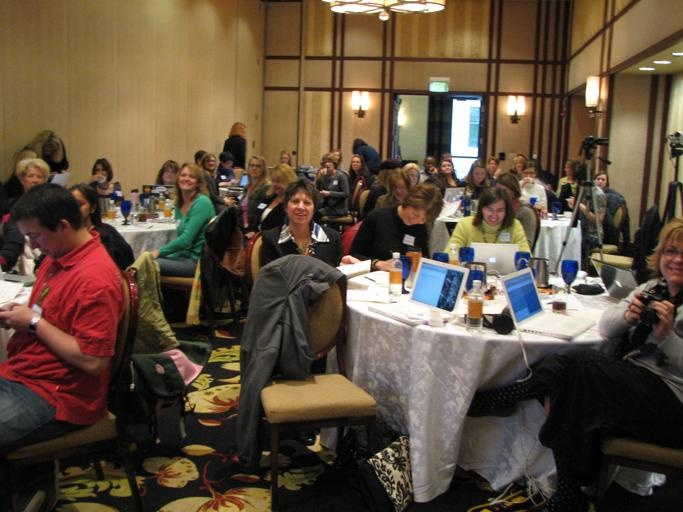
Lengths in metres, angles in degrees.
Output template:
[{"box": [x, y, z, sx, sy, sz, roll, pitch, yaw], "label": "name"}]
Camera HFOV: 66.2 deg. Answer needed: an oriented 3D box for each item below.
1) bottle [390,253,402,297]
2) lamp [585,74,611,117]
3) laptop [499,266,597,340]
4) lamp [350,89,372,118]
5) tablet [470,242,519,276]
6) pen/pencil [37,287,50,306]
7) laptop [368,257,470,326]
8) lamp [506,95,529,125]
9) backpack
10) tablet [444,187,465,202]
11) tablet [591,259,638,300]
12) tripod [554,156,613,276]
[{"box": [0.309, 0.115, 2.970, 0.076, 0.250, 0.078, 2, 4, 0], "label": "bottle"}, {"box": [4.335, -2.763, 8.909, 0.288, 0.692, 0.878, 4, 12, 19], "label": "lamp"}, {"box": [0.990, 0.221, 2.527, 0.419, 0.257, 0.473, 1, 6, 22], "label": "laptop"}, {"box": [0.431, -3.484, 12.076, 0.545, 0.806, 0.491, -2, 6, -9], "label": "lamp"}, {"box": [0.977, 0.010, 3.332, 0.302, 0.226, 0.223, -1, 15, 18], "label": "tablet"}, {"box": [-1.219, 0.172, 2.145, 0.020, 0.018, 0.077, 15, 55, 24], "label": "pen/pencil"}, {"box": [0.395, 0.163, 2.572, 0.395, 0.272, 0.375, 10, 10, 41], "label": "laptop"}, {"box": [3.916, -3.264, 11.688, 0.453, 0.601, 0.147, -1, 11, -4], "label": "lamp"}, {"box": [-0.877, 0.668, 2.488, 0.349, 0.403, 0.384, -3, -3, 10], "label": "backpack"}, {"box": [1.540, -0.843, 7.185, 0.270, 0.208, 0.191, 1, -1, -23], "label": "tablet"}, {"box": [1.588, 0.135, 2.967, 0.189, 0.192, 0.275, -26, 10, -3], "label": "tablet"}, {"box": [2.480, -0.401, 5.455, 0.478, 1.304, 0.476, -7, 25, -5], "label": "tripod"}]
